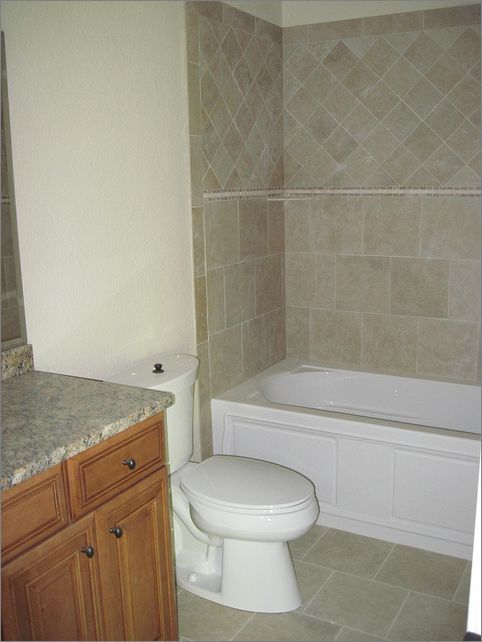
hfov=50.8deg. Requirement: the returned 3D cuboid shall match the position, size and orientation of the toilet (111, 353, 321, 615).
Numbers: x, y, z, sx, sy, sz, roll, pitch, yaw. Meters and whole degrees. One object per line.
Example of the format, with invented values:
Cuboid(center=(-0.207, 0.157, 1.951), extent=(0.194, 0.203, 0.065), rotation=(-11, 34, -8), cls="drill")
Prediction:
Cuboid(center=(-0.072, 0.568, 1.813), extent=(0.576, 0.896, 0.437), rotation=(4, 19, 20), cls="toilet")
